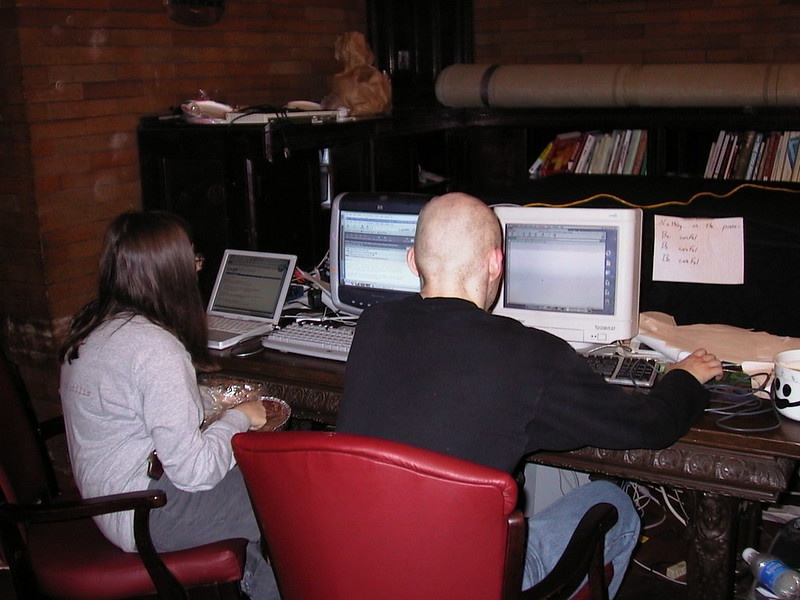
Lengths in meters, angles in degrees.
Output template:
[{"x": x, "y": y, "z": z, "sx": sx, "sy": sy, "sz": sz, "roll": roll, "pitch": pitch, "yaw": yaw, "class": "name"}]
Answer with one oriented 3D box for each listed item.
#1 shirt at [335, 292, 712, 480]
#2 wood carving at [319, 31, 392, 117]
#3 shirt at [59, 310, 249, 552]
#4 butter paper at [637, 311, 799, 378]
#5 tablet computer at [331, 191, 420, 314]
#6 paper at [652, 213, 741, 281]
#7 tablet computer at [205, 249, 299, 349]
[{"x": 0.319, "y": 0.191, "z": 1.457, "sx": 0.428, "sy": 0.221, "sz": 0.582, "roll": 7, "pitch": 5, "yaw": 42, "class": "shirt"}, {"x": -0.267, "y": -1.412, "z": 3.944, "sx": 0.350, "sy": 0.551, "sz": 0.449, "roll": 4, "pitch": 12, "yaw": 17, "class": "wood carving"}, {"x": -0.676, "y": 0.376, "z": 1.717, "sx": 0.510, "sy": 0.556, "sz": 0.402, "roll": 16, "pitch": 26, "yaw": 41, "class": "shirt"}, {"x": 1.029, "y": 0.130, "z": 2.099, "sx": 0.337, "sy": 0.104, "sz": 0.238, "roll": 17, "pitch": 22, "yaw": 5, "class": "butter paper"}, {"x": -0.079, "y": -0.179, "z": 2.234, "sx": 0.406, "sy": 0.401, "sz": 0.255, "roll": 5, "pitch": 7, "yaw": 25, "class": "tablet computer"}, {"x": 1.031, "y": -0.181, "z": 2.180, "sx": 0.222, "sy": 0.184, "sz": 0.031, "roll": 2, "pitch": 3, "yaw": 15, "class": "paper"}, {"x": -0.592, "y": -0.034, "z": 2.488, "sx": 0.373, "sy": 0.264, "sz": 0.374, "roll": 9, "pitch": 23, "yaw": 22, "class": "tablet computer"}]
